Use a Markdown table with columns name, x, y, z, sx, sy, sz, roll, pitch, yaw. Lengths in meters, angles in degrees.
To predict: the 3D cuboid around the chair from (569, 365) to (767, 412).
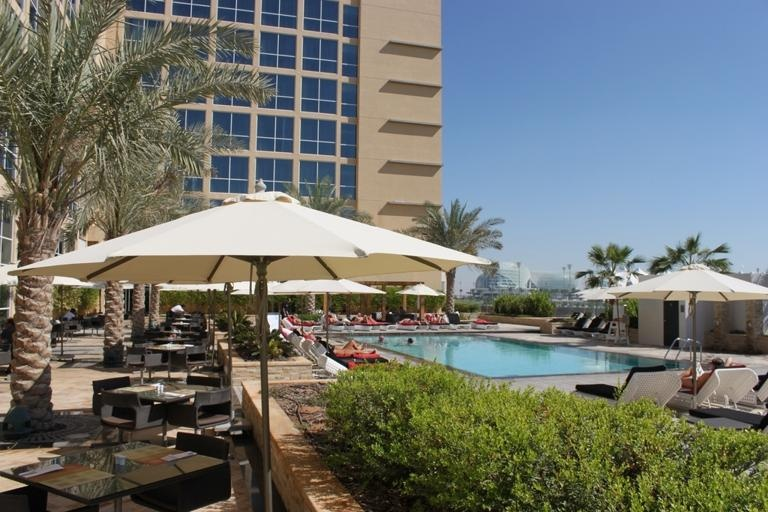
| name | x | y | z | sx | sy | sz | roll | pitch | yaw |
| --- | --- | --- | --- | --- | --- | --- | --- | --- | --- |
| chair | 6.584 | 2.883 | 12.984 | 3.604 | 0.995 | 1.511 | 4 | -4 | -22 |

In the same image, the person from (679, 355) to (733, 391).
| name | x | y | z | sx | sy | sz | roll | pitch | yaw |
| --- | --- | --- | --- | --- | --- | --- | --- | --- | --- |
| person | 6.851 | 2.642 | 13.260 | 1.474 | 0.581 | 0.515 | -12 | 7 | 11 |
